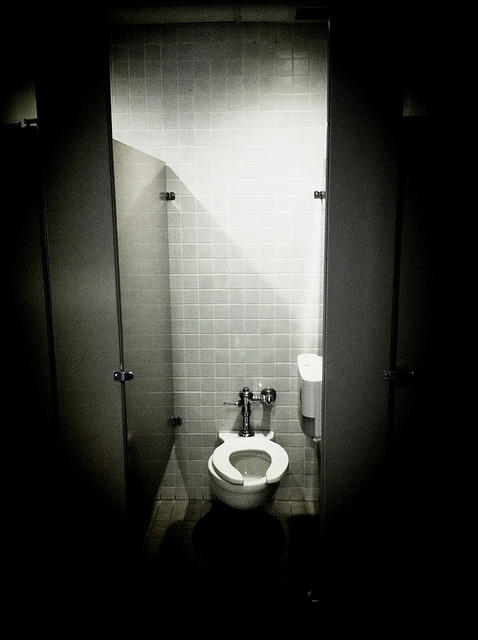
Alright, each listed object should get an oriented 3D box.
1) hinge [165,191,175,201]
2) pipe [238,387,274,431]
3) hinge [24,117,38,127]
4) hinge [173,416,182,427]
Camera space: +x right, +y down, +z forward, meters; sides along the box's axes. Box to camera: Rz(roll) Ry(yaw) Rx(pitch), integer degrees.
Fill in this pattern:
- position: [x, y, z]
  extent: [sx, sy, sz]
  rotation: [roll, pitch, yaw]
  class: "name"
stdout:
- position: [-0.269, -0.482, 2.316]
  extent: [0.028, 0.028, 0.011]
  rotation: [-4, 3, -21]
  class: "hinge"
- position: [0.066, 0.371, 2.482]
  extent: [0.127, 0.205, 0.092]
  rotation: [-4, 23, -10]
  class: "pipe"
- position: [-0.450, -0.424, 1.283]
  extent: [0.029, 0.022, 0.025]
  rotation: [0, 2, -18]
  class: "hinge"
- position: [-0.256, 0.423, 2.483]
  extent: [0.031, 0.040, 0.008]
  rotation: [-2, 4, -28]
  class: "hinge"
